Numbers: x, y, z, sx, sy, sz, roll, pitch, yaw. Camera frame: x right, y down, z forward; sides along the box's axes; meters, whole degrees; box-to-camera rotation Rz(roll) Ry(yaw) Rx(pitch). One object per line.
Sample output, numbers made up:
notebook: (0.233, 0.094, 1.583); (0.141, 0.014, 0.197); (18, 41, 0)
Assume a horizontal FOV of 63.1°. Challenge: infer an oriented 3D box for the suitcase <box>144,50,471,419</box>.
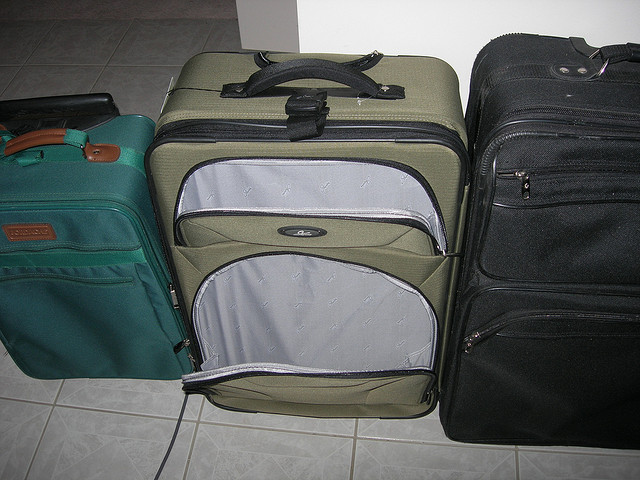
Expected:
suitcase: (-0.018, -0.006, 1.204); (0.662, 0.755, 0.623); (3, 57, 7)
